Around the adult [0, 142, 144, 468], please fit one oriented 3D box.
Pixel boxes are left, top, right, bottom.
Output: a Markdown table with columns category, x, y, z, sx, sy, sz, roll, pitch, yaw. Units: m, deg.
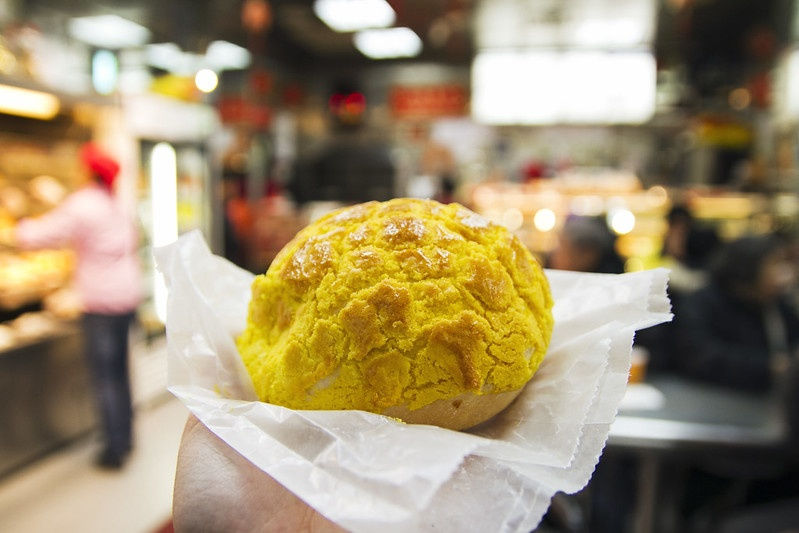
| category | x | y | z | sx | sy | sz | roll | pitch | yaw |
| --- | --- | --- | --- | --- | --- | --- | --- | --- | --- |
| adult | -0.628 | 0.078 | 1.508 | 0.170 | 0.658 | 0.395 | 0 | 12 | -1 |
